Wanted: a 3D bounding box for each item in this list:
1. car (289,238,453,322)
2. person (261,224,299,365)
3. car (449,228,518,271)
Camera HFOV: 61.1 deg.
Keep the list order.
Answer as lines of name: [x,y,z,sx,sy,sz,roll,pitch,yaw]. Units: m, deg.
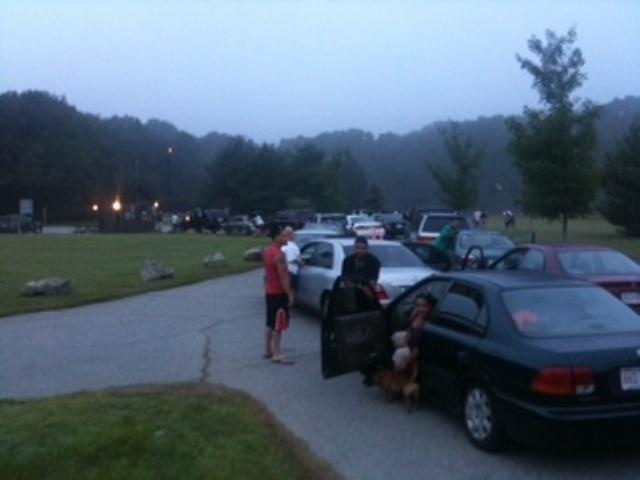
car: [0.669,0.540,10.588,1.300,1.031,2.932,-3,6,-22]
person: [-0.689,0.846,8.926,0.471,2.146,1.070,1,4,-4]
car: [4.537,0.431,14.754,1.050,0.862,2.470,-2,7,-2]
